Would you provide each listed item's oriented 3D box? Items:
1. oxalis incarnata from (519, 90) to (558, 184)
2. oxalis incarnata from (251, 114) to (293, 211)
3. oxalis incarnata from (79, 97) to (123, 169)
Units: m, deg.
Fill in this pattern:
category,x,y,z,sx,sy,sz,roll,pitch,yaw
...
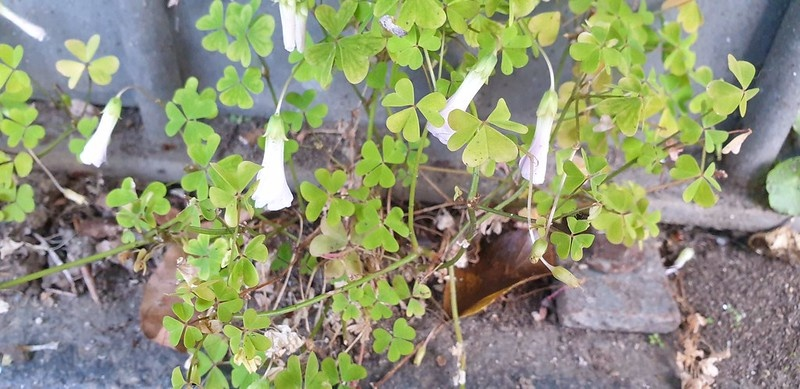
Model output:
category,x,y,z,sx,sy,sz,roll,pitch,yaw
oxalis incarnata,0.668,-0.285,2.910,0.135,0.414,0.101,-7,12,-30
oxalis incarnata,-0.584,-0.136,2.926,0.203,0.423,0.200,7,39,0
oxalis incarnata,-1.396,-0.274,3.027,0.153,0.413,0.127,24,15,8
